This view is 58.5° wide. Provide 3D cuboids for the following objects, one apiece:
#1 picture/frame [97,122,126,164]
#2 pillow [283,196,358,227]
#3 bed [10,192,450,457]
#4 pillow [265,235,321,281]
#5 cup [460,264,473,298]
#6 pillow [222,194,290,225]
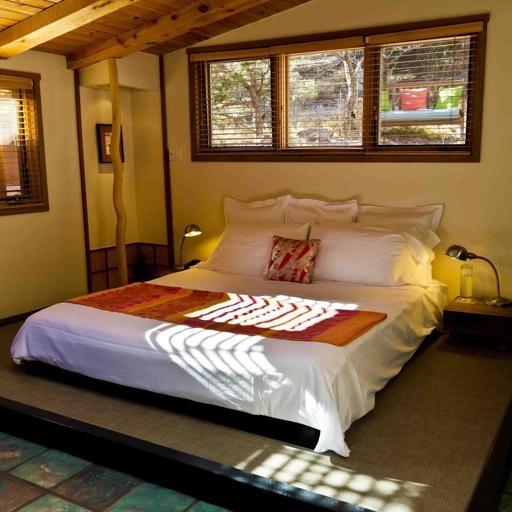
[{"bbox_3d":[-1.593,-1.219,4.962,0.049,0.382,0.330,9,17,27],"label":"picture/frame"},{"bbox_3d":[0.601,-0.389,4.110,0.396,0.241,0.053,4,-32,19],"label":"pillow"},{"bbox_3d":[-0.016,0.302,3.228,2.154,0.965,1.974,3,8,32],"label":"bed"},{"bbox_3d":[0.309,0.034,3.697,0.552,0.477,0.140,-19,-31,38],"label":"pillow"},{"bbox_3d":[1.717,0.207,3.644,0.124,0.274,0.112,2,-2,10],"label":"cup"},{"bbox_3d":[0.025,-0.447,4.420,0.435,0.259,0.061,0,-20,29],"label":"pillow"}]
